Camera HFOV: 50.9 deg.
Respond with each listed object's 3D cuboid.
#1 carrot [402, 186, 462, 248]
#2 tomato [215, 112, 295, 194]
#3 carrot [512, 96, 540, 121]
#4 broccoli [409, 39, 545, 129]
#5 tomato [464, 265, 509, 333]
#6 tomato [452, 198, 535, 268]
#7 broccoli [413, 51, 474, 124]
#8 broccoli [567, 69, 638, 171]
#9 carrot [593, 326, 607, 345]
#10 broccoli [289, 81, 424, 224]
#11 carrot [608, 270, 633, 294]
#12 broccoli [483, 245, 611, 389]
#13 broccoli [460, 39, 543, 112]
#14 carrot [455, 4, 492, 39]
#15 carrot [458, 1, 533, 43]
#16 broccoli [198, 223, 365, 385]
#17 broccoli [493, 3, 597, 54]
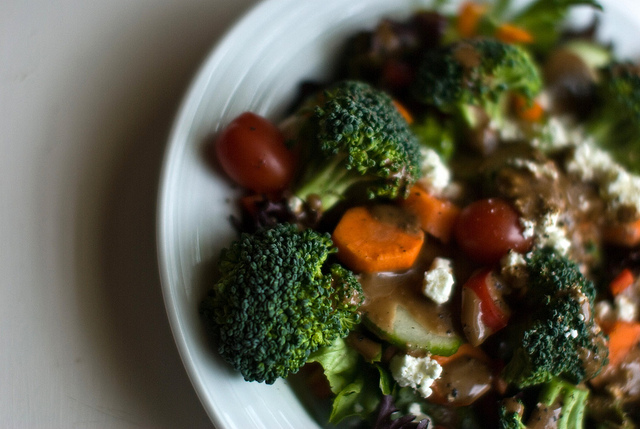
[{"bbox_3d":[0.352,0.001,2.121,0.184,0.050,0.187,-43,92,1],"label":"carrot"},{"bbox_3d":[-0.194,-0.193,2.149,0.186,0.192,0.258,-40,93,2],"label":"tomato"},{"bbox_3d":[0.711,-0.365,2.332,0.046,0.083,0.081,-44,61,-4],"label":"carrot"},{"bbox_3d":[0.529,-0.436,2.229,0.325,0.297,0.198,-3,94,-35],"label":"broccoli"},{"bbox_3d":[0.514,0.268,2.073,0.055,0.131,0.189,-15,70,32],"label":"tomato"},{"bbox_3d":[0.532,0.081,2.095,0.211,0.178,0.198,-6,67,18],"label":"tomato"},{"bbox_3d":[0.445,-0.445,2.265,0.069,0.219,0.233,-26,87,-33],"label":"broccoli"},{"bbox_3d":[0.972,-0.325,2.303,0.221,0.225,0.311,11,83,-5],"label":"broccoli"},{"bbox_3d":[0.866,0.374,2.082,0.017,0.047,0.066,-19,83,29],"label":"carrot"},{"bbox_3d":[0.088,-0.212,2.070,0.429,0.161,0.392,-13,82,-4],"label":"broccoli"},{"bbox_3d":[1.008,0.225,2.262,0.088,0.019,0.043,-27,84,-6],"label":"carrot"},{"bbox_3d":[0.710,0.282,2.013,0.309,0.128,0.432,-2,91,-13],"label":"broccoli"},{"bbox_3d":[0.586,-0.438,2.226,0.217,0.131,0.215,25,61,-2],"label":"broccoli"},{"bbox_3d":[0.525,-0.682,2.402,0.106,0.028,0.127,13,87,2],"label":"carrot"},{"bbox_3d":[0.594,-0.661,2.334,0.170,0.183,0.077,23,110,-31],"label":"carrot"},{"bbox_3d":[-0.124,0.251,2.024,0.483,0.166,0.433,-27,84,-6],"label":"broccoli"},{"bbox_3d":[0.803,-0.658,2.381,0.279,0.059,0.200,27,53,8],"label":"broccoli"}]
